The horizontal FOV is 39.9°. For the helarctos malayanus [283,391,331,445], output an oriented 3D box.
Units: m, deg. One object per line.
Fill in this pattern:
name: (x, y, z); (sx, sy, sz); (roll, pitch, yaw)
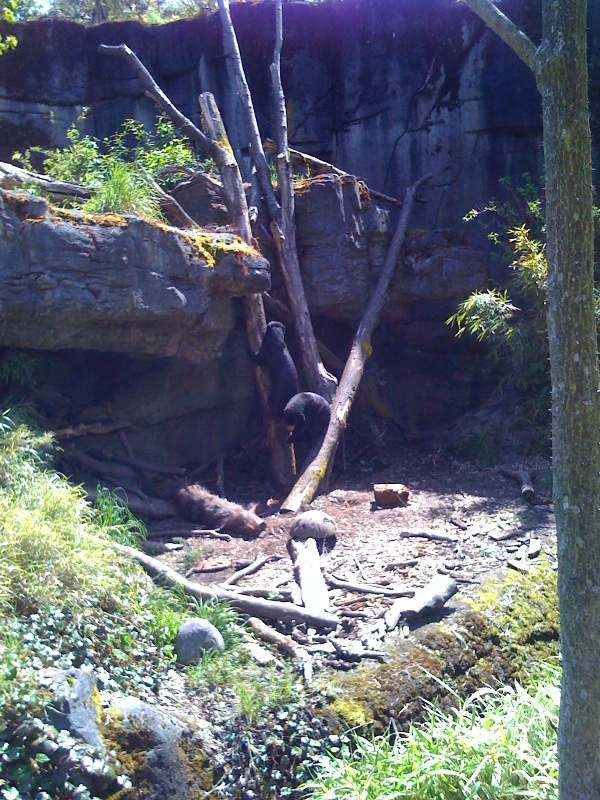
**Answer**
helarctos malayanus: (0.046, 0.191, 8.209); (0.383, 0.517, 0.706); (12, 18, 30)

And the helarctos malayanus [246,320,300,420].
helarctos malayanus: (-0.174, -0.298, 8.514); (0.594, 1.118, 0.362); (-2, 6, 42)
